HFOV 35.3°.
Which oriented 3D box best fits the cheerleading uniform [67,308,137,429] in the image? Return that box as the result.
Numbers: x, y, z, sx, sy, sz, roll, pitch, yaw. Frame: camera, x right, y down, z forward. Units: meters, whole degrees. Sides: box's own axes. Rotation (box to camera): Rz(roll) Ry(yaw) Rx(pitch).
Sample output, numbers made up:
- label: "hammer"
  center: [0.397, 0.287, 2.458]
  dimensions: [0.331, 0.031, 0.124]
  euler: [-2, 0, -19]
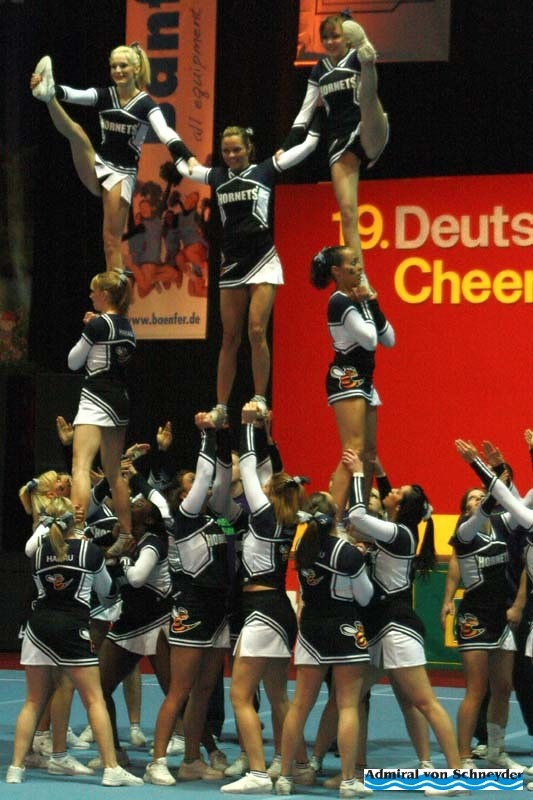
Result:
- label: "cheerleading uniform"
  center: [-0.891, -0.170, 4.635]
  dimensions: [0.359, 0.629, 0.295]
  euler: [1, 3, -21]

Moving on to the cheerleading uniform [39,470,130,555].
- label: "cheerleading uniform"
  center: [-1.010, 0.647, 4.774]
  dimensions: [0.149, 0.524, 0.378]
  euler: [-19, 16, -35]

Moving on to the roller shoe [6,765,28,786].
- label: "roller shoe"
  center: [-1.168, 1.771, 3.956]
  dimensions: [0.059, 0.051, 0.115]
  euler: [0, -7, 4]

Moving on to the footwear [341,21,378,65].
- label: "footwear"
  center: [0.438, -1.682, 3.918]
  dimensions: [0.149, 0.205, 0.228]
  euler: [3, 3, 22]

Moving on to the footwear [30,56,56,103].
- label: "footwear"
  center: [-1.318, -1.932, 5.027]
  dimensions: [0.129, 0.347, 0.490]
  euler: [2, 3, -15]

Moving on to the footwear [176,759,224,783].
- label: "footwear"
  center: [-0.324, 1.843, 4.144]
  dimensions: [0.247, 0.116, 0.093]
  euler: [0, 0, -4]

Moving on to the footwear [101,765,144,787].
- label: "footwear"
  center: [-0.642, 1.705, 3.830]
  dimensions: [0.238, 0.100, 0.078]
  euler: [4, 0, -16]

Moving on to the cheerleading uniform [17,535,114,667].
- label: "cheerleading uniform"
  center: [-0.937, 0.933, 3.855]
  dimensions: [0.370, 0.606, 0.238]
  euler: [2, 2, -1]

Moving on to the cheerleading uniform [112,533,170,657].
- label: "cheerleading uniform"
  center: [-0.658, 1.056, 4.469]
  dimensions: [0.326, 0.689, 0.530]
  euler: [2, 3, -9]

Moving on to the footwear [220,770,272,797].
- label: "footwear"
  center: [-0.114, 1.662, 3.662]
  dimensions: [0.276, 0.117, 0.093]
  euler: [0, -11, 6]

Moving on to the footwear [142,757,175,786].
- label: "footwear"
  center: [-0.496, 1.738, 3.935]
  dimensions: [0.160, 0.116, 0.087]
  euler: [-7, -13, 40]

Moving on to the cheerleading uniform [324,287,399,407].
- label: "cheerleading uniform"
  center: [0.449, -0.250, 4.132]
  dimensions: [0.310, 0.571, 0.534]
  euler: [3, 3, 8]

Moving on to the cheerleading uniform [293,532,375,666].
- label: "cheerleading uniform"
  center: [0.292, 0.873, 3.629]
  dimensions: [0.323, 0.558, 0.243]
  euler: [3, 2, 9]

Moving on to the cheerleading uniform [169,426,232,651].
- label: "cheerleading uniform"
  center: [-0.311, 0.700, 4.211]
  dimensions: [0.319, 1.111, 0.535]
  euler: [2, 2, -5]

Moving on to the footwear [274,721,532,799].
- label: "footwear"
  center: [0.637, 1.656, 3.701]
  dimensions: [1.126, 0.208, 0.314]
  euler: [2, 3, -5]

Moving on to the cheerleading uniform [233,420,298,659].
- label: "cheerleading uniform"
  center: [0.013, 0.677, 3.904]
  dimensions: [0.290, 1.032, 0.442]
  euler: [2, 2, -2]
